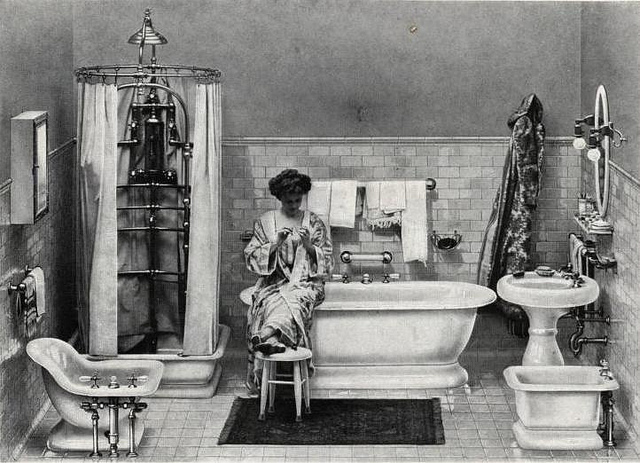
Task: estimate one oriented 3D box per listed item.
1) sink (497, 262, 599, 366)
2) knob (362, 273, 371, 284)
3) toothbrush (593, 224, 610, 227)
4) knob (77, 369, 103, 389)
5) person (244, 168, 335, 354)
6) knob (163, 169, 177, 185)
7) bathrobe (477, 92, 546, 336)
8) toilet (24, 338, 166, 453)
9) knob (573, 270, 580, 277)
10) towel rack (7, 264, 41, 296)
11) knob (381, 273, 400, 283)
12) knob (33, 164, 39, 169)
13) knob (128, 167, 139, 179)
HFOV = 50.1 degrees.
[{"bbox_3d":[1.903,0.709,5.788,0.790,0.798,0.560,0,10,9],"label":"sink"},{"bbox_3d":[0.433,0.450,6.394,0.074,0.090,0.074,0,-4,-3],"label":"knob"},{"bbox_3d":[2.259,-0.044,5.460,0.088,0.014,0.014,2,11,20],"label":"toothbrush"},{"bbox_3d":[-1.689,1.088,5.009,0.200,0.145,0.119,0,-5,-2],"label":"knob"},{"bbox_3d":[-0.234,0.320,5.748,0.631,1.676,0.523,-2,12,-15],"label":"person"},{"bbox_3d":[-1.292,-0.466,5.919,0.098,0.126,0.046,-2,3,-1],"label":"knob"},{"bbox_3d":[1.822,-0.234,6.441,0.481,2.108,0.591,14,29,30],"label":"bathrobe"},{"bbox_3d":[-1.592,1.214,4.963,0.863,0.569,0.874,1,1,-6],"label":"toilet"},{"bbox_3d":[2.130,0.364,5.679,0.051,0.025,0.085,0,9,12],"label":"knob"},{"bbox_3d":[-2.098,0.360,4.857,0.202,0.098,0.369,-1,5,-3],"label":"towel rack"},{"bbox_3d":[0.671,0.427,6.453,0.149,0.090,0.290,0,10,10],"label":"knob"},{"bbox_3d":[-1.980,-0.453,4.790,0.018,0.031,0.078,-3,10,-7],"label":"knob"},{"bbox_3d":[-1.610,-0.499,5.923,0.074,0.108,0.025,0,3,1],"label":"knob"}]
